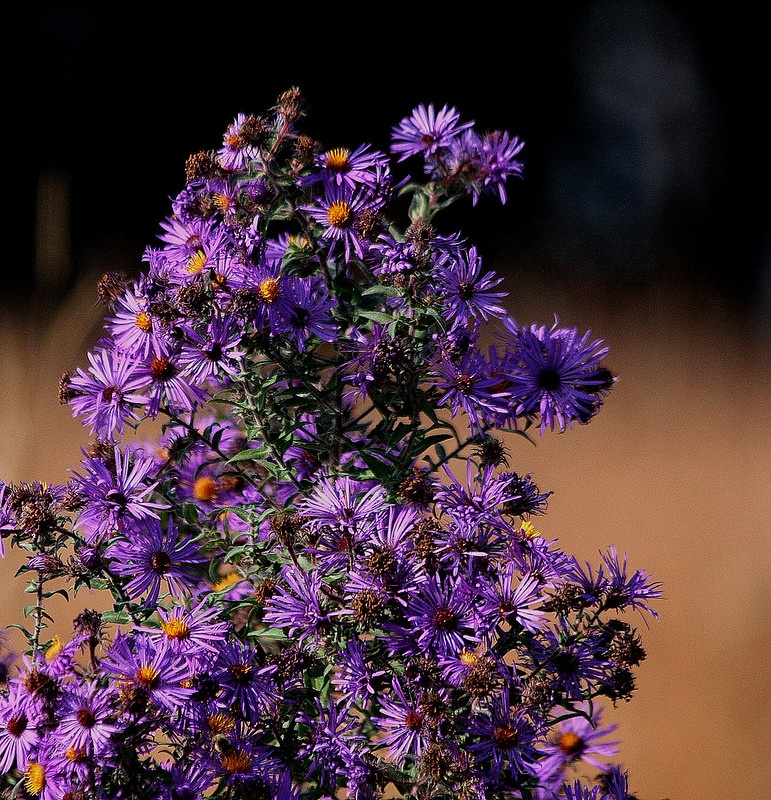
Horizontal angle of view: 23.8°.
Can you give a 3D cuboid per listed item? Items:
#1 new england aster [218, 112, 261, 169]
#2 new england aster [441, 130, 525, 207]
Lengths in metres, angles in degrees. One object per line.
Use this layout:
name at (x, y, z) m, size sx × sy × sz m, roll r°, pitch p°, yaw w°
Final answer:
new england aster at (-0.260, -0.472, 3.424) m, size 0.095 × 0.096 × 0.045 m, roll -9°, pitch -16°, yaw 39°
new england aster at (0.200, -0.424, 3.458) m, size 0.146 × 0.152 × 0.088 m, roll -24°, pitch -11°, yaw -13°
